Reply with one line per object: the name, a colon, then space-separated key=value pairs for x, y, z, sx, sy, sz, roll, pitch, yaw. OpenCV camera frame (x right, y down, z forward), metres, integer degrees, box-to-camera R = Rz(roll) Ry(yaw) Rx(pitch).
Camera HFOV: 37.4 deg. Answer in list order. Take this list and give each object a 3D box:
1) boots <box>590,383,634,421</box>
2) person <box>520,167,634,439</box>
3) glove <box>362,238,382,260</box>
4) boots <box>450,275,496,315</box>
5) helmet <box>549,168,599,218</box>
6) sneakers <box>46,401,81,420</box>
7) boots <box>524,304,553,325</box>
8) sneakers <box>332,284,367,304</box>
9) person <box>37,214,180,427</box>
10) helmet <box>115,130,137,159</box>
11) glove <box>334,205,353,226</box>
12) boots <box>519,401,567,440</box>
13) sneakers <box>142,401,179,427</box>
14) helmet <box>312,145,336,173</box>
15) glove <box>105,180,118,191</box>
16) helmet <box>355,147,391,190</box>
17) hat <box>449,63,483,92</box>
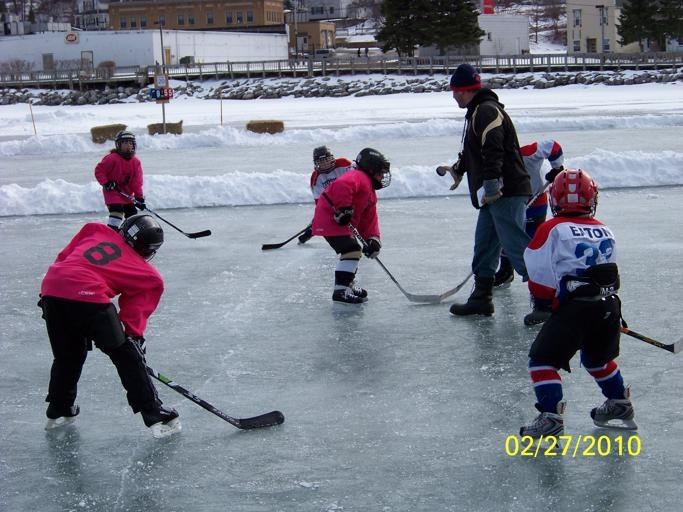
boots: x=1.813 y=1.020 z=6.869 sx=0.361 sy=0.207 sz=0.107 roll=-1 pitch=-8 yaw=-19
person: x=1.519 y=0.312 z=6.726 sx=0.837 sy=1.758 sz=0.397 roll=-8 pitch=12 yaw=-18
glove: x=0.286 y=-0.081 z=9.357 sx=0.157 sy=0.172 sz=0.186 roll=-4 pitch=10 yaw=0
boots: x=1.189 y=0.365 z=8.987 sx=0.452 sy=0.334 sz=0.203 roll=-3 pitch=-1 yaw=34
helmet: x=1.587 y=-0.447 z=6.864 sx=0.311 sy=0.281 sz=0.349 roll=2 pitch=13 yaw=12
sneakers: x=-1.916 y=1.052 z=6.943 sx=0.145 sy=0.060 sz=0.182 roll=4 pitch=-7 yaw=-40
boots: x=1.680 y=0.500 z=8.650 sx=0.320 sy=0.235 sz=0.137 roll=0 pitch=9 yaw=6
sneakers: x=0.090 y=0.349 z=9.363 sx=0.409 sy=0.227 sz=0.122 roll=-4 pitch=34 yaw=-3
person: x=-1.599 y=0.466 z=6.800 sx=0.910 sy=1.443 sz=0.430 roll=-6 pitch=11 yaw=-8
helmet: x=-2.515 y=-1.324 z=12.043 sx=0.278 sy=0.288 sz=0.351 roll=-3 pitch=-3 yaw=-32
glove: x=0.033 y=-0.371 z=9.116 sx=0.174 sy=0.129 sz=0.175 roll=0 pitch=0 yaw=-10
boots: x=1.366 y=1.092 z=6.727 sx=0.147 sy=0.226 sz=0.403 roll=6 pitch=-13 yaw=-38
sneakers: x=-1.214 y=1.056 z=6.882 sx=0.263 sy=0.143 sz=0.131 roll=-13 pitch=15 yaw=-36
helmet: x=-0.238 y=-1.056 z=10.918 sx=0.258 sy=0.232 sz=0.282 roll=-22 pitch=20 yaw=2
glove: x=-2.705 y=-0.823 z=11.837 sx=0.147 sy=0.116 sz=0.075 roll=-2 pitch=11 yaw=8
helmet: x=0.315 y=-0.816 z=9.442 sx=0.371 sy=0.388 sz=0.246 roll=-11 pitch=12 yaw=-35
hat: x=1.080 y=-1.548 z=8.761 sx=0.265 sy=0.232 sz=0.251 roll=-3 pitch=10 yaw=5
